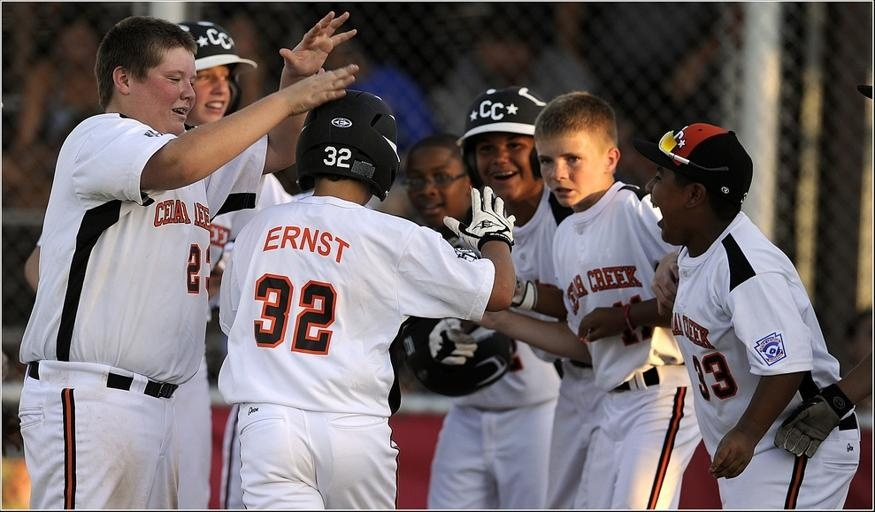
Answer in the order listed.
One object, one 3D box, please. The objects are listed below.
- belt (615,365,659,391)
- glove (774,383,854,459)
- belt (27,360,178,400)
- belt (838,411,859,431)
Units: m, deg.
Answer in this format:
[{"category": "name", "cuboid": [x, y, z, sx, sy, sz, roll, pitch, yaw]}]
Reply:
[{"category": "belt", "cuboid": [1.543, 0.923, 9.906, 0.231, 0.090, 0.178, -33, 3, 4]}, {"category": "glove", "cuboid": [2.628, 1.132, 9.066, 0.358, 0.172, 0.564, 14, -58, -6]}, {"category": "belt", "cuboid": [-2.367, 0.869, 9.364, 0.936, 0.224, 0.177, 3, -13, -11]}, {"category": "belt", "cuboid": [2.899, 1.140, 9.245, 0.120, 0.154, 0.128, 18, 8, 41]}]
